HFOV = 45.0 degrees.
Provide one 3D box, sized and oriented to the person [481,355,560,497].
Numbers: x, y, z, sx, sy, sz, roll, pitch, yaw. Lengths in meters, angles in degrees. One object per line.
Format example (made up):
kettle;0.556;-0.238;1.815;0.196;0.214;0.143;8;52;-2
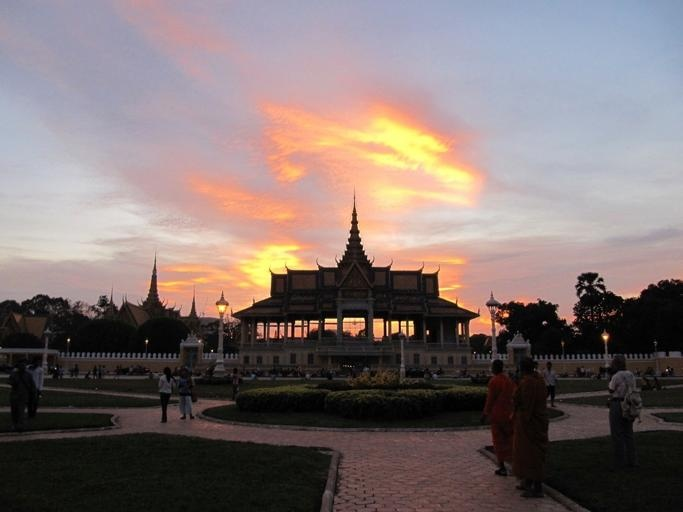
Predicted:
person;4.316;3.870;18.927;0.836;3.107;0.900;-2;-10;11
